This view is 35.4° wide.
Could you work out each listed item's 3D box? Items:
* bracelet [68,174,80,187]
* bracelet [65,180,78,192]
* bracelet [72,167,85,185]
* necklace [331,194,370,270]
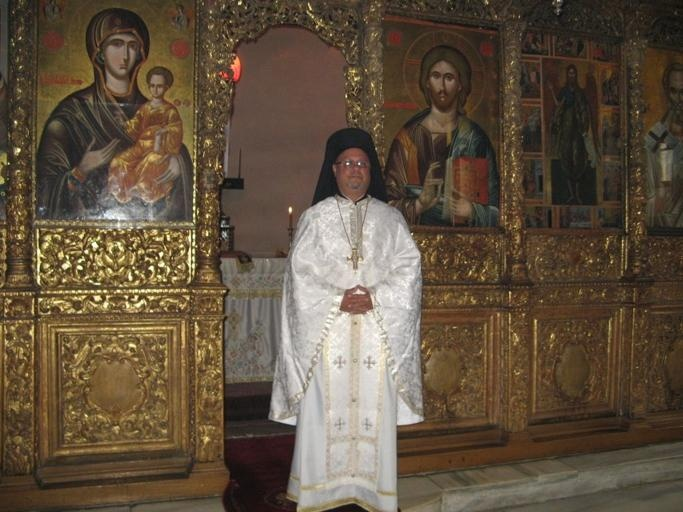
[{"bbox_3d":[-2.245,-0.627,8.942,0.076,0.101,0.102,-24,-43,3],"label":"bracelet"},{"bbox_3d":[-2.245,-0.590,8.943,0.096,0.087,0.022,-16,3,-9],"label":"bracelet"},{"bbox_3d":[-2.196,-0.675,8.985,0.047,0.124,0.095,-43,7,9],"label":"bracelet"},{"bbox_3d":[0.100,-0.156,8.663,0.299,0.568,0.043,-3,-3,25],"label":"necklace"}]
